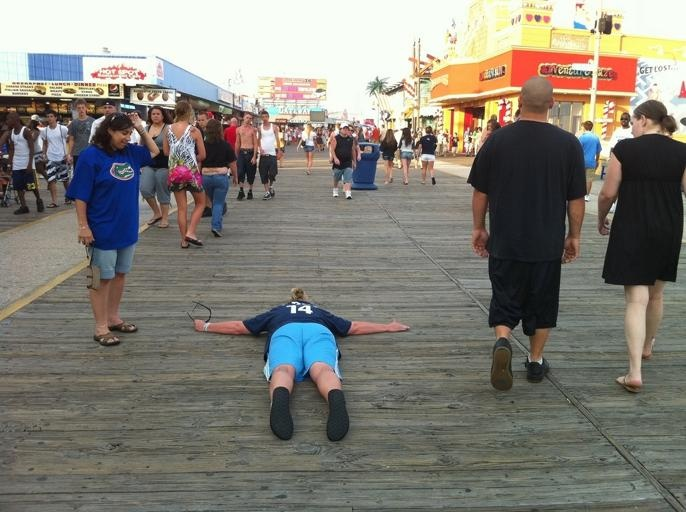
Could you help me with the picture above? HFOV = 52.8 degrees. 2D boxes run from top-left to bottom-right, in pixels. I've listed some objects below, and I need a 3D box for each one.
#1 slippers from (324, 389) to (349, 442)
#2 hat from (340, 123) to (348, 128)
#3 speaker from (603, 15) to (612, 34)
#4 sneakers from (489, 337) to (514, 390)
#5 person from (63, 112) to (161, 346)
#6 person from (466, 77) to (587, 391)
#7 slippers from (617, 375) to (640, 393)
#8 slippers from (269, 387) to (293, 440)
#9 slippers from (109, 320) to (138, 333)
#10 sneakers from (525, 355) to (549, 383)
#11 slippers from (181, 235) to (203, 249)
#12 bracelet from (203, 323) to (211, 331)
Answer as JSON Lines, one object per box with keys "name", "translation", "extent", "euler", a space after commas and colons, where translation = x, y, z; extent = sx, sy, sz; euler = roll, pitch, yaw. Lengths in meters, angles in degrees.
{"name": "slippers", "translation": [-0.025, 1.072, 4.649], "extent": [0.159, 0.257, 0.349], "euler": [2, 13, 0]}
{"name": "hat", "translation": [0.050, -2.903, 15.342], "extent": [0.117, 0.127, 0.149], "euler": [11, 10, 19]}
{"name": "speaker", "translation": [7.940, -6.955, 20.669], "extent": [0.252, 0.532, 1.308], "euler": [7, 14, 18]}
{"name": "sneakers", "translation": [1.140, 0.786, 4.991], "extent": [0.187, 0.362, 0.160], "euler": [1, 20, 10]}
{"name": "person", "translation": [-2.001, -0.265, 6.003], "extent": [0.520, 1.944, 0.889], "euler": [2, 14, 1]}
{"name": "person", "translation": [1.324, -0.008, 5.182], "extent": [0.849, 1.987, 0.556], "euler": [5, 15, 13]}
{"name": "slippers", "translation": [2.159, 0.972, 5.211], "extent": [0.074, 0.066, 0.191], "euler": [-2, 15, -5]}
{"name": "slippers", "translation": [-0.406, 1.066, 4.636], "extent": [0.135, 0.128, 0.335], "euler": [-5, 44, -12]}
{"name": "slippers", "translation": [-1.943, 0.630, 6.122], "extent": [0.232, 0.053, 0.093], "euler": [3, 12, 5]}
{"name": "sneakers", "translation": [1.518, 0.903, 5.376], "extent": [0.116, 0.088, 0.243], "euler": [0, 12, 13]}
{"name": "slippers", "translation": [-2.034, -0.201, 9.376], "extent": [0.274, 0.170, 0.210], "euler": [-1, 14, -9]}
{"name": "bracelet", "translation": [-1.221, 0.641, 6.201], "extent": [0.063, 0.065, 0.035], "euler": [2, -30, -12]}
